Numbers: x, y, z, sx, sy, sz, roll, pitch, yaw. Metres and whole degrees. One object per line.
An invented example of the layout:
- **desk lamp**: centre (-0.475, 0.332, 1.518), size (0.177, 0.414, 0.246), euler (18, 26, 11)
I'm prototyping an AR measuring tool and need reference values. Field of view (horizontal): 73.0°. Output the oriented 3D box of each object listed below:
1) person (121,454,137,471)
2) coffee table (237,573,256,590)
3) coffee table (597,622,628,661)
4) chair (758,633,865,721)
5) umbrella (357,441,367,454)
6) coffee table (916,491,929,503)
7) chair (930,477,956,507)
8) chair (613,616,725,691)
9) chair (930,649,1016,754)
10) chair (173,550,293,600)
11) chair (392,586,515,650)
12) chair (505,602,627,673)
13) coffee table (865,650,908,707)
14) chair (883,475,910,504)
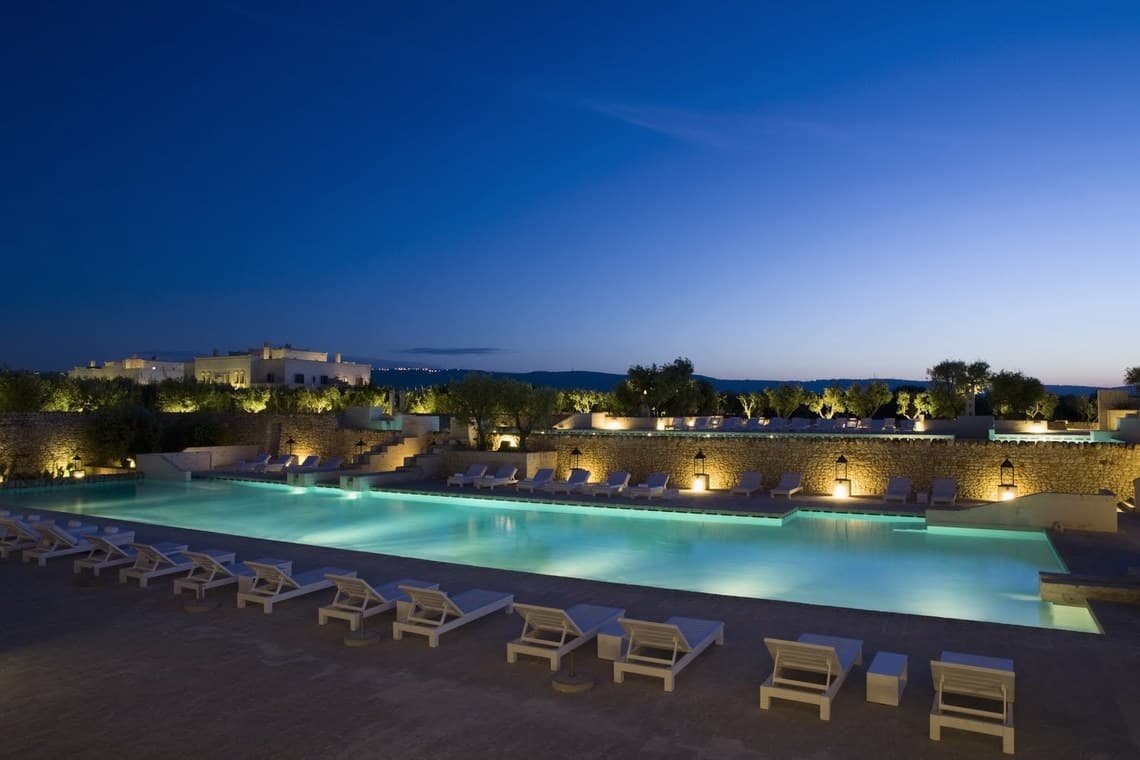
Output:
- **person**: centre (-18.377, 3.419, 31.967), size (0.722, 0.599, 0.247), euler (4, 8, 30)
- **coffee table**: centre (-6.560, 4.126, 15.588), size (0.291, 0.331, 0.363), euler (0, 1, -12)
- **coffee table**: centre (0.771, 4.659, 13.528), size (0.254, 0.281, 0.840), euler (-1, -1, 24)
- **chair**: centre (4.315, 4.841, 13.451), size (1.294, 0.930, 2.632), euler (0, 2, 32)
- **umbrella**: centre (-8.945, 2.924, 32.852), size (0.597, 0.535, 0.564), euler (1, -3, 2)
- **coffee table**: centre (10.888, 3.658, 23.613), size (0.320, 0.262, 0.842), euler (3, 7, 24)
- **chair**: centre (11.526, 3.487, 23.876), size (0.651, 0.723, 0.928), euler (-2, -6, 34)
- **chair**: centre (1.617, 4.679, 13.264), size (0.921, 0.747, 2.185), euler (-1, 2, 26)
- **chair**: centre (6.564, 5.183, 12.472), size (1.194, 0.948, 1.623), euler (-3, -8, 27)
- **chair**: centre (-7.380, 4.236, 16.822), size (0.962, 0.789, 2.351), euler (2, 4, 20)
- **chair**: centre (-2.140, 4.305, 14.813), size (0.956, 0.762, 2.341), euler (2, 6, 32)
- **chair**: centre (0.004, 4.485, 14.355), size (1.106, 0.875, 2.612), euler (-1, 0, 31)
- **coffee table**: centre (5.286, 5.060, 13.049), size (0.520, 0.447, 0.966), euler (2, 6, 18)
- **chair**: centre (10.438, 3.501, 24.372), size (0.635, 0.532, 0.934), euler (-1, -2, 28)
